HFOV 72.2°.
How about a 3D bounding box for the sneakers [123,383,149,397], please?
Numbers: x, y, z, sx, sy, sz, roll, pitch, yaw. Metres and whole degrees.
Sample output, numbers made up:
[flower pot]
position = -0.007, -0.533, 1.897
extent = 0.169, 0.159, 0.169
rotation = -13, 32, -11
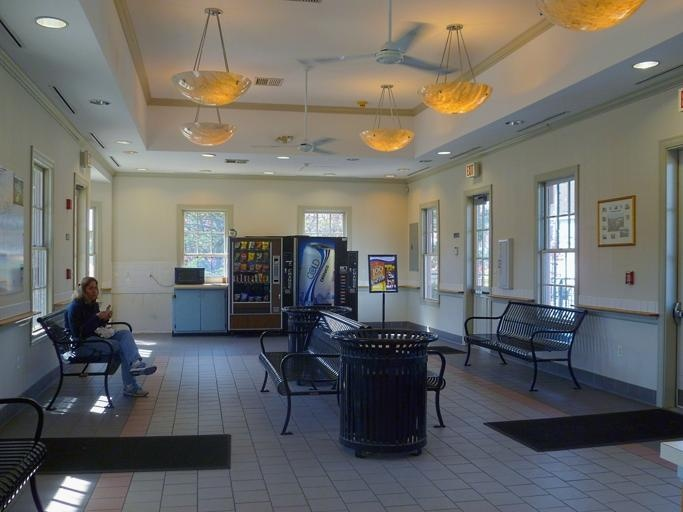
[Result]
[sneakers]
position = -2.487, 1.647, 5.790
extent = 0.371, 0.169, 0.125
rotation = 1, -3, -4

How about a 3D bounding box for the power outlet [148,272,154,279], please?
[power outlet]
position = -4.365, 0.435, 10.712
extent = 0.101, 0.141, 0.034
rotation = 4, -1, -6

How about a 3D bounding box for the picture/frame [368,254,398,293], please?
[picture/frame]
position = 0.706, 0.298, 8.071
extent = 0.751, 0.908, 0.066
rotation = 1, -6, -10

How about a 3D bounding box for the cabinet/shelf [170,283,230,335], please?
[cabinet/shelf]
position = -3.047, 1.173, 10.678
extent = 1.710, 1.425, 0.950
rotation = 0, -4, -7

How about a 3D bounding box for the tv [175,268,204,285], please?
[tv]
position = -3.333, 0.437, 10.283
extent = 0.542, 0.350, 0.361
rotation = 1, 4, -7

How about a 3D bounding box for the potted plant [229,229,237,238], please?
[potted plant]
position = -2.514, -0.558, 10.895
extent = 0.143, 0.250, 0.230
rotation = -3, -6, 20

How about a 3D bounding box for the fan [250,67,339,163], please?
[fan]
position = -0.709, -2.577, 8.764
extent = 1.313, 1.313, 1.040
rotation = 0, 0, -38

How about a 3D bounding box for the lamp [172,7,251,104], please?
[lamp]
position = -1.631, -2.322, 5.701
extent = 0.783, 1.246, 1.834
rotation = 0, 1, -19

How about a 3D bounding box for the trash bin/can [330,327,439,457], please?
[trash bin/can]
position = 0.374, 1.225, 4.462
extent = 0.972, 1.091, 0.995
rotation = 1, -5, -1
